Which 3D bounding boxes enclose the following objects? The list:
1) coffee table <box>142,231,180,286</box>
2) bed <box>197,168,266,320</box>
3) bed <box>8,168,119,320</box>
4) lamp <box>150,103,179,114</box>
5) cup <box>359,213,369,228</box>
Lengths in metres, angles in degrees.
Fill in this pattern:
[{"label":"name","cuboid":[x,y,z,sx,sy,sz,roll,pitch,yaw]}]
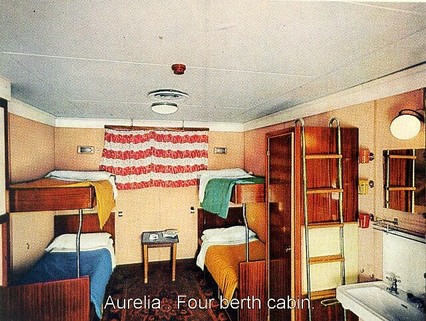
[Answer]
[{"label":"coffee table","cuboid":[-0.930,1.636,6.246,0.596,0.756,0.523,0,13,-10]},{"label":"bed","cuboid":[0.284,1.087,5.676,1.197,1.216,1.812,0,19,0]},{"label":"bed","cuboid":[-2.033,1.105,5.119,1.111,1.998,1.933,-1,12,-8]},{"label":"lamp","cuboid":[-0.629,-0.677,4.681,0.301,0.158,0.284,12,17,41]},{"label":"cup","cuboid":[1.666,0.673,3.983,0.093,0.146,0.152,1,1,17]}]
